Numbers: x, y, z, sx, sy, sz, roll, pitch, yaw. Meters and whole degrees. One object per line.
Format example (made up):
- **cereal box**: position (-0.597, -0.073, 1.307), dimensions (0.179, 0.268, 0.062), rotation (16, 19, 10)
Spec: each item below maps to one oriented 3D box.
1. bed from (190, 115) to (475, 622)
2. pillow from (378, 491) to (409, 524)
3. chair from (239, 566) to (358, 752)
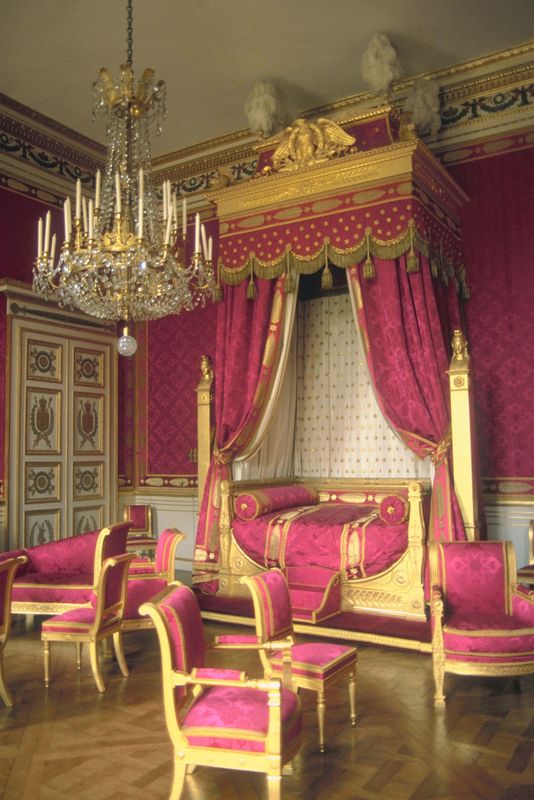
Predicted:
- **bed**: position (0.558, -0.249, 5.346), dimensions (1.736, 3.485, 1.282), rotation (-4, -3, 29)
- **pillow**: position (0.781, 0.681, 4.363), dimensions (0.190, 0.175, 0.103), rotation (-4, -3, 31)
- **chair**: position (0.137, 1.093, 3.070), dimensions (0.432, 0.650, 0.366), rotation (-3, -3, 34)
